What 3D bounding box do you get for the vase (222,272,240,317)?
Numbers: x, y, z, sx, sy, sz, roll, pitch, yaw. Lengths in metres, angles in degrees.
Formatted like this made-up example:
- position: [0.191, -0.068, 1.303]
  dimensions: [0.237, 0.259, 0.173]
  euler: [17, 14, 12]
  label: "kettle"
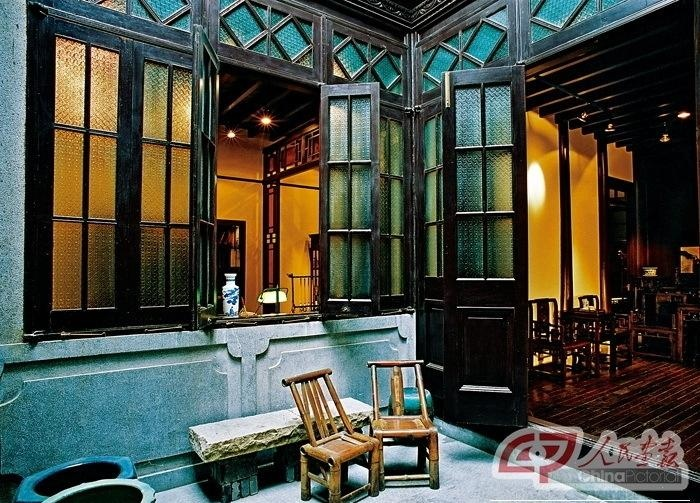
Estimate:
- position: [-1.168, 0.403, 5.345]
  dimensions: [0.157, 0.412, 0.470]
  euler: [-4, 15, -14]
  label: "vase"
